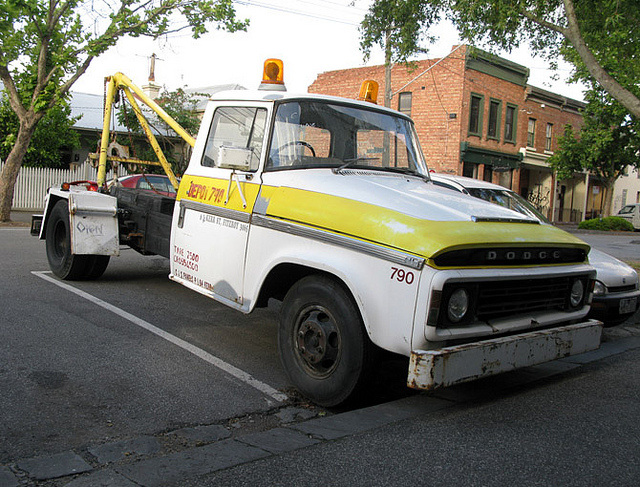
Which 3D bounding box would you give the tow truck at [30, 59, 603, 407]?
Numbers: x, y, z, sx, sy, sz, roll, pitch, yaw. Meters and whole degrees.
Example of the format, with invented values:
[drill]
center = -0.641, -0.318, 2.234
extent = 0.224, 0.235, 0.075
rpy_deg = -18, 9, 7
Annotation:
[tow truck]
center = -0.907, -0.185, 6.974
extent = 3.974, 3.339, 8.499
rpy_deg = -2, 12, -40
